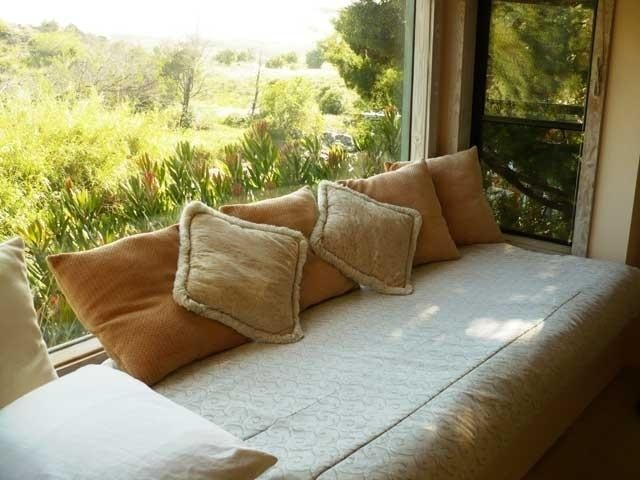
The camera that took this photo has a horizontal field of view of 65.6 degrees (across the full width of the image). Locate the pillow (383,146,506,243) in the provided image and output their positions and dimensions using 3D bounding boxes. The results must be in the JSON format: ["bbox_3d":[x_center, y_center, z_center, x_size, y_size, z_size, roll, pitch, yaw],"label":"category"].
[{"bbox_3d":[0.807,-0.227,3.056,0.536,0.599,0.227,-16,-6,-15],"label":"pillow"}]

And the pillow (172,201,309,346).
[{"bbox_3d":[-0.332,0.186,2.145,0.559,0.592,0.157,24,-42,-29],"label":"pillow"}]
